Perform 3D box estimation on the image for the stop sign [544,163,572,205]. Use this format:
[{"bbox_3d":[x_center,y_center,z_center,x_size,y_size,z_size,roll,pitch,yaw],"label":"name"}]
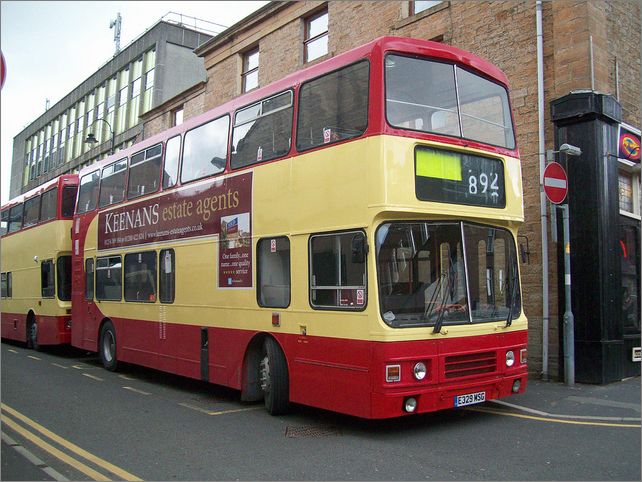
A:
[{"bbox_3d":[4.944,-1.202,12.208,0.807,1.031,0.055,-1,-1,-30],"label":"stop sign"}]
